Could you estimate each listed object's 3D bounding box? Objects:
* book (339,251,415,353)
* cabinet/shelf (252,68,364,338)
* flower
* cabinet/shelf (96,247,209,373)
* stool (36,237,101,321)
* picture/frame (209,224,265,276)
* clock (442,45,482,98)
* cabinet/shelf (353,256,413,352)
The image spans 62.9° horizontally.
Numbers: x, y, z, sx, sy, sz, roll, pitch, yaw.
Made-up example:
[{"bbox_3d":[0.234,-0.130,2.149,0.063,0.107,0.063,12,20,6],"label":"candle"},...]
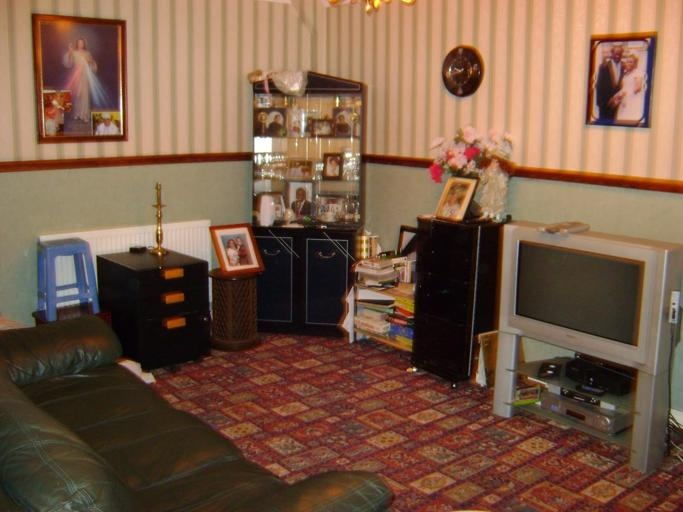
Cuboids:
[{"bbox_3d":[0.369,0.455,5.430,0.854,0.803,0.287,12,19,37],"label":"book"},{"bbox_3d":[-0.378,-0.558,5.789,1.161,2.639,0.404,2,7,13],"label":"cabinet/shelf"},{"bbox_3d":[1.044,-0.930,4.807,0.500,0.334,0.452,-2,-6,-31],"label":"flower"},{"bbox_3d":[-1.727,0.459,5.118,0.892,0.890,0.867,7,13,16],"label":"cabinet/shelf"},{"bbox_3d":[-2.358,0.159,5.068,0.680,0.861,0.621,-4,11,-34],"label":"stool"},{"bbox_3d":[-1.012,-0.064,5.562,0.498,0.561,0.042,-10,-18,-32],"label":"picture/frame"},{"bbox_3d":[1.128,-1.716,5.175,0.070,0.461,0.444,-10,18,-37],"label":"clock"},{"bbox_3d":[0.420,0.446,5.389,0.823,0.785,0.294,10,15,40],"label":"cabinet/shelf"}]
